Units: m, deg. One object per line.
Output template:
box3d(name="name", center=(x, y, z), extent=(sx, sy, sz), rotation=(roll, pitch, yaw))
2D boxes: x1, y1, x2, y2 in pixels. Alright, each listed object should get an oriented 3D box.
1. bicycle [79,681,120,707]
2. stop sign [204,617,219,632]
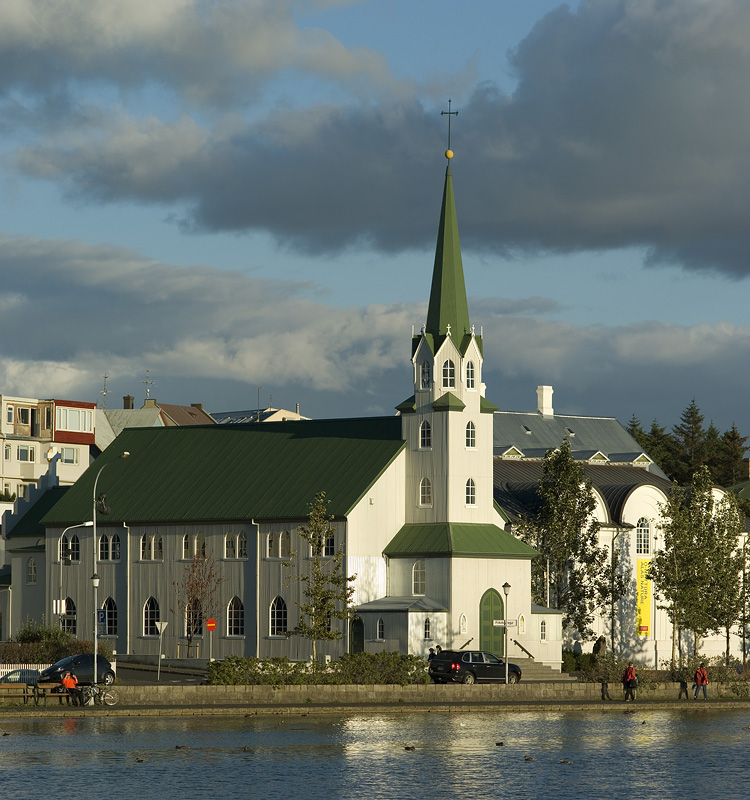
box3d(name="bicycle", center=(-9.947, 10.517, 90.299), extent=(1.218, 0.876, 0.660), rotation=(-2, 0, -4))
box3d(name="stop sign", center=(-7.443, 10.076, 113.931), extent=(0.508, 0.716, 0.088), rotation=(7, 11, 31))
